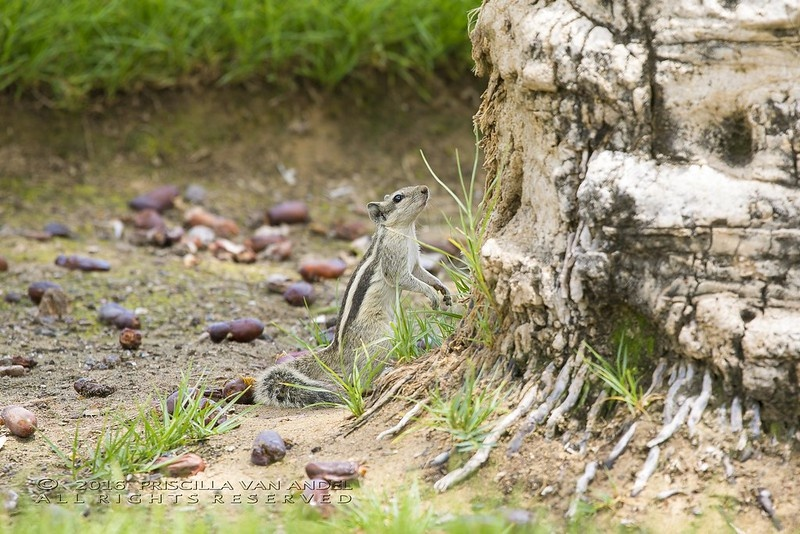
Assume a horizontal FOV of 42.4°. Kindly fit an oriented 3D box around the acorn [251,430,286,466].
[{"bbox_3d":[-0.735,0.993,5.682,0.104,0.185,0.142,47,-8,-29],"label":"acorn"}]

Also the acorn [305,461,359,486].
[{"bbox_3d":[-0.354,1.084,5.476,0.193,0.070,0.142,4,-2,-5],"label":"acorn"}]

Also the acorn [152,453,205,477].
[{"bbox_3d":[-1.206,1.076,5.621,0.182,0.056,0.133,-2,14,-4],"label":"acorn"}]
